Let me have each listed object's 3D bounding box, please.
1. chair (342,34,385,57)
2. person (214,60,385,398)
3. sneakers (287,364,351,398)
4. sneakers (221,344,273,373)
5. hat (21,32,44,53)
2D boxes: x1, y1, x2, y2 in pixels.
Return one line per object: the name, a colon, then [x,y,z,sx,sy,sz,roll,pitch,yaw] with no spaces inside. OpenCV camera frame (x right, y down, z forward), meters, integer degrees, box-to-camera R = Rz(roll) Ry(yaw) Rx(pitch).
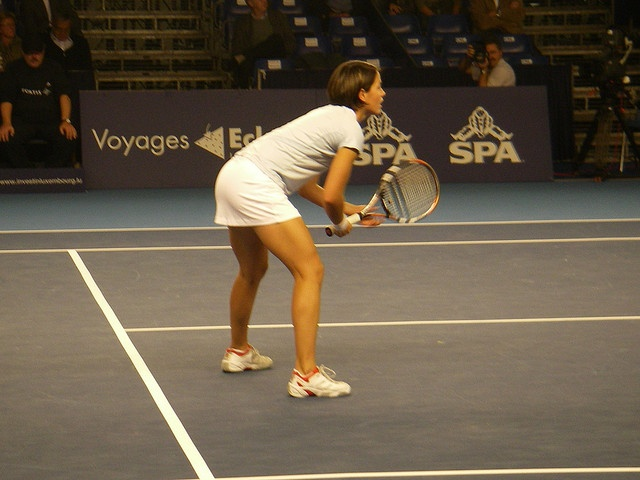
chair: [0.862,-4.058,16.734,0.829,0.471,0.705,-2,13,-7]
person: [-0.155,-0.083,4.983,1.064,2.025,0.640,0,12,4]
sneakers: [-0.024,0.886,4.997,0.421,0.206,0.165,2,-1,-8]
sneakers: [-0.493,0.802,5.388,0.374,0.167,0.130,0,1,-25]
hat: [-4.427,-3.064,12.394,0.239,0.351,0.353,-1,50,-10]
